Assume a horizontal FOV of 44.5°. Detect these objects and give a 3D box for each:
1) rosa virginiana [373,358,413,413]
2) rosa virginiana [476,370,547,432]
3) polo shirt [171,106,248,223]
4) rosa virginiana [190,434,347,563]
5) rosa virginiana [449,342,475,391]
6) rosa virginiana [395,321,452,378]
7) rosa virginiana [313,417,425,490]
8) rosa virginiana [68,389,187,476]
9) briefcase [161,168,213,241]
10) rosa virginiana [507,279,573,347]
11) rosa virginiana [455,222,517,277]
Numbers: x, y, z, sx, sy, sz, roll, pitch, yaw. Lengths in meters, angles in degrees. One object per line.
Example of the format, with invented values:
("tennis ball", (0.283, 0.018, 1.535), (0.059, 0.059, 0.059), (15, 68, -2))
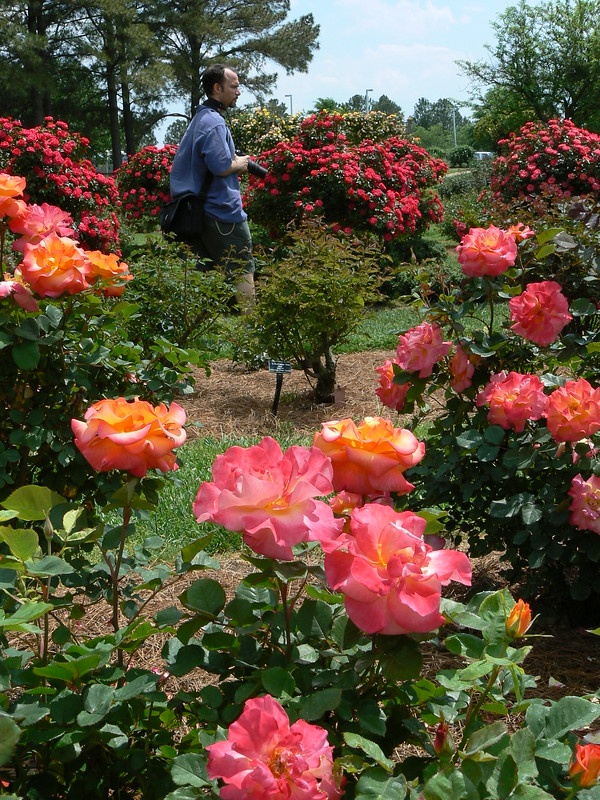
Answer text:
("rosa virginiana", (0.272, -0.049, 2.277), (0.097, 0.133, 0.143), (-11, -24, -13))
("rosa virginiana", (0.563, 0.000, 1.957), (0.171, 0.153, 0.183), (5, 9, 11))
("polo shirt", (-0.792, -1.928, 5.960), (0.610, 0.922, 0.505), (5, 10, 8))
("rosa virginiana", (-0.036, 0.100, 0.830), (0.165, 0.056, 0.136), (-6, 23, -7))
("rosa virginiana", (0.479, -0.092, 2.180), (0.072, 0.146, 0.125), (6, 10, 12))
("rosa virginiana", (0.381, -0.136, 2.168), (0.174, 0.154, 0.108), (-8, -38, 28))
("rosa virginiana", (0.077, 0.067, 0.965), (0.122, 0.073, 0.112), (-1, 21, -32))
("rosa virginiana", (-0.223, 0.054, 1.033), (0.104, 0.115, 0.158), (11, 12, 40))
("briefcase", (-0.966, -1.672, 6.208), (0.364, 0.605, 0.525), (6, -1, -29))
("rosa virginiana", (0.670, -0.251, 2.076), (0.192, 0.169, 0.100), (22, 17, 9))
("rosa virginiana", (0.500, -0.388, 2.006), (0.159, 0.084, 0.142), (-33, 61, -17))
